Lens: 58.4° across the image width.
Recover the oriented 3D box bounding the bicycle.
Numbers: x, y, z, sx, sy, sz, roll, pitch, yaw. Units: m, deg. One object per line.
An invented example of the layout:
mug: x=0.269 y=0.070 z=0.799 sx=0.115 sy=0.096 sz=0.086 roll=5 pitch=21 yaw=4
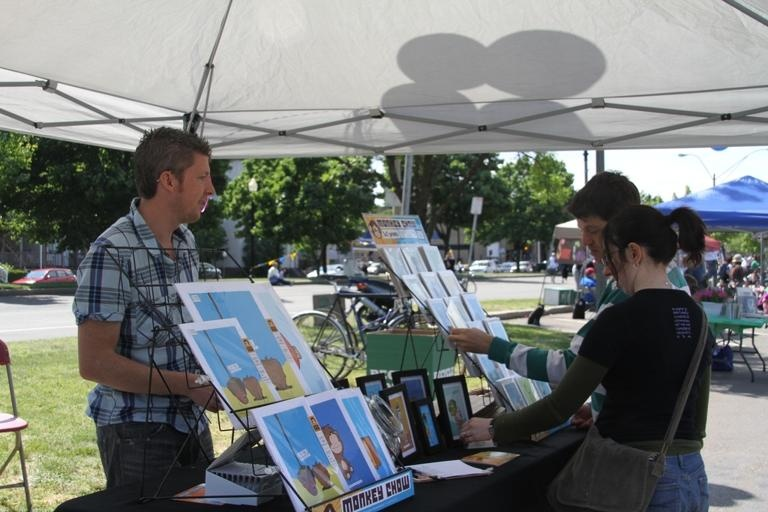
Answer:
bicycle: x=-0.216 y=1.147 z=10.330 sx=2.391 sy=1.448 sz=1.214 roll=0 pitch=2 yaw=11

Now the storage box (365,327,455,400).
storage box: x=0.257 y=1.063 z=7.289 sx=0.757 sy=0.488 sz=0.795 roll=-1 pitch=-2 yaw=33

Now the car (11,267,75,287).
car: x=-16.851 y=1.077 z=33.731 sx=0.810 sy=0.651 sz=1.806 roll=-4 pitch=-8 yaw=37
